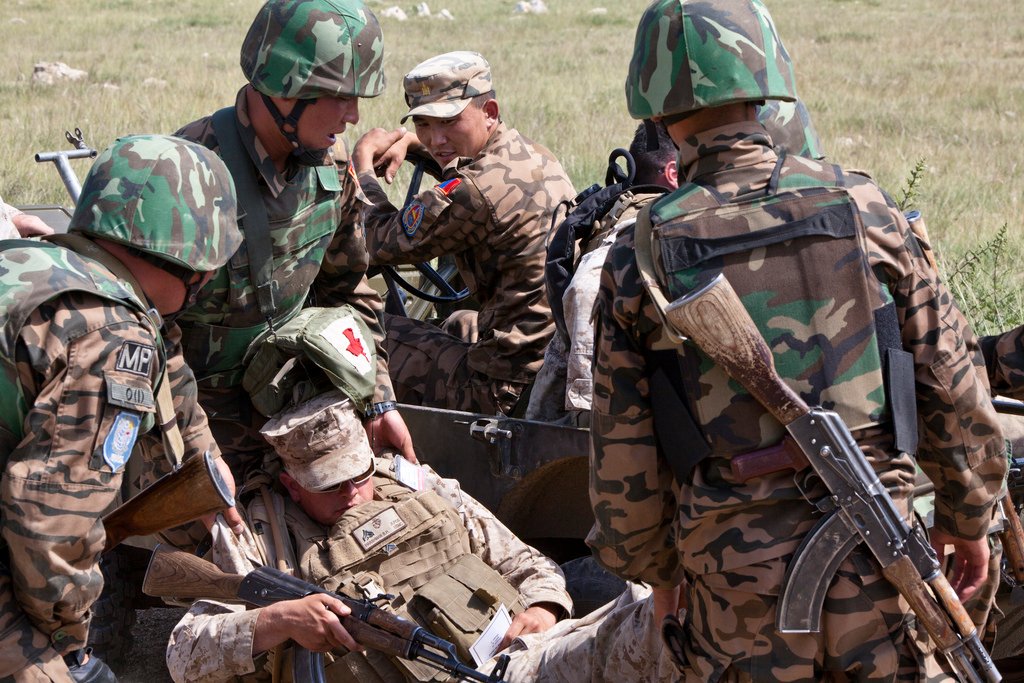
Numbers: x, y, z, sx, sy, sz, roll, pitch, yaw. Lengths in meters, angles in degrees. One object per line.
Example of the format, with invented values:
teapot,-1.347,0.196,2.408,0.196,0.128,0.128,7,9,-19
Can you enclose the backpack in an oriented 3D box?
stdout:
backpack,0.944,-0.044,4.466,0.716,0.874,0.497,-20,5,10

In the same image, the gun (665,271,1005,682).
gun,1.132,0.480,4.498,0.559,1.608,0.142,-27,-1,7

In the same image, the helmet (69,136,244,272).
helmet,-1.363,-0.473,5.011,0.493,0.476,0.582,23,-4,12

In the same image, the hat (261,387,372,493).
hat,-0.904,0.460,5.782,0.511,0.330,0.333,-3,23,-11

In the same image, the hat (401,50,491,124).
hat,-0.373,-1.458,7.111,0.331,0.247,0.457,-5,9,42
